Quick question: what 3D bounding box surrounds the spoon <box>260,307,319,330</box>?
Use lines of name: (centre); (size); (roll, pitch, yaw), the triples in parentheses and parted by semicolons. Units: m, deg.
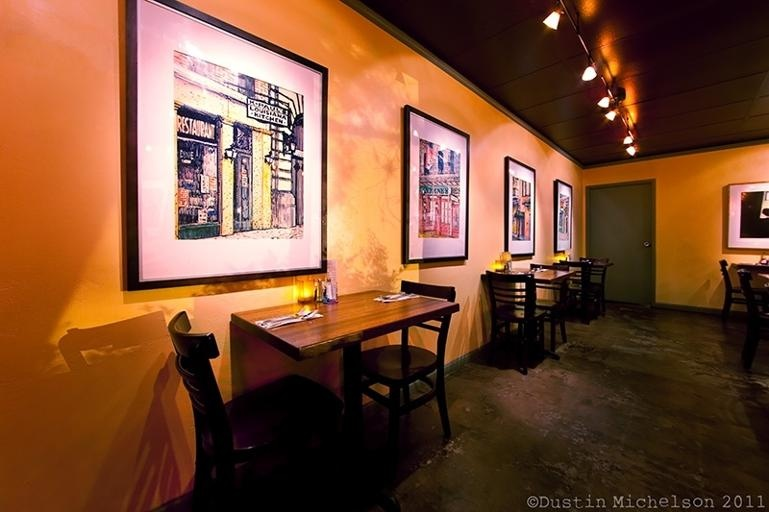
spoon: (-0.676, 0.455, 3.473); (0.281, 0.041, 0.163); (-4, 9, -45)

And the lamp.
lamp: (2.204, -1.930, 5.155); (0.225, 0.219, 1.893); (41, 7, 37)

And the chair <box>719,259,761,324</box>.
chair: (4.937, 0.424, 6.729); (0.423, 0.646, 0.431); (-1, 8, 12)

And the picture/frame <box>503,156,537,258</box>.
picture/frame: (1.686, -0.623, 6.028); (0.097, 1.573, 1.271); (1, -1, 34)

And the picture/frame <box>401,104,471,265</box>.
picture/frame: (0.524, -0.689, 4.830); (0.122, 1.513, 0.970); (3, 5, 45)
